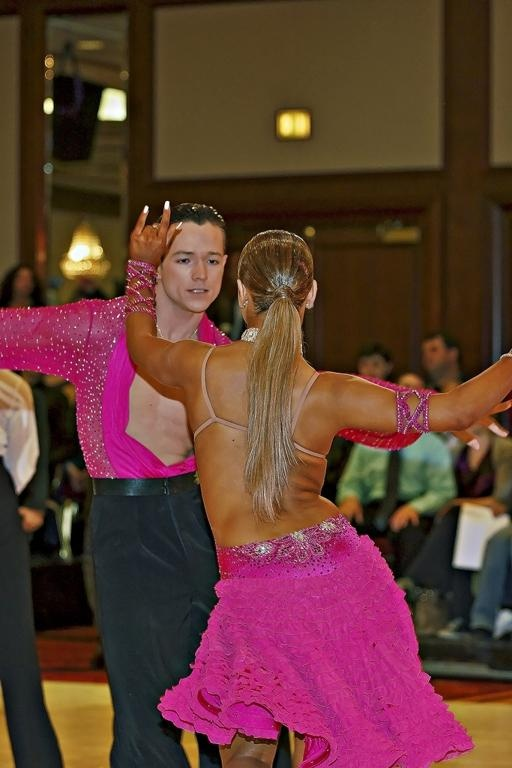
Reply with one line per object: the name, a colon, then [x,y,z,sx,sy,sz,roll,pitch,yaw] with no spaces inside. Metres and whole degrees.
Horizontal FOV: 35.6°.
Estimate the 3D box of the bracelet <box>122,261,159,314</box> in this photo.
bracelet: [-0.251,-0.204,1.721,0.078,0.111,0.041,-1,-2,-14]
